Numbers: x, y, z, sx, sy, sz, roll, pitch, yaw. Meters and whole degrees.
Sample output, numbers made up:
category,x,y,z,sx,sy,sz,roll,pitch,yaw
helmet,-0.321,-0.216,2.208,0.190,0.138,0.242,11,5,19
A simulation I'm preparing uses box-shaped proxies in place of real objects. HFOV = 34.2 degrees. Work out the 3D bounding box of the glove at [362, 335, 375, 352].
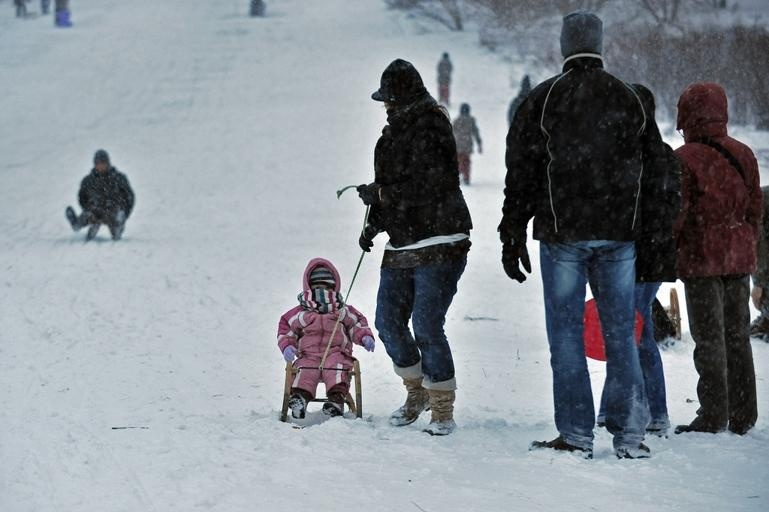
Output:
category,x,y,z,sx,sy,sz,roll,pitch,yaw
glove,-0.269,1.437,20.386,0.188,0.245,0.115,-1,-3,-17

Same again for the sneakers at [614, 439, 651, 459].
category,x,y,z,sx,sy,sz,roll,pitch,yaw
sneakers,3.740,2.922,18.733,0.374,0.200,0.289,-1,-4,17

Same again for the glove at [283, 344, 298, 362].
category,x,y,z,sx,sy,sz,roll,pitch,yaw
glove,-1.514,1.620,20.212,0.224,0.252,0.372,-1,15,-8

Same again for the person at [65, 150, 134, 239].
category,x,y,z,sx,sy,sz,roll,pitch,yaw
person,-6.298,-1.261,27.704,1.396,2.146,1.094,14,19,41

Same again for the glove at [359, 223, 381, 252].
category,x,y,z,sx,sy,sz,roll,pitch,yaw
glove,-0.208,-0.272,19.763,0.175,0.424,0.313,5,26,-29

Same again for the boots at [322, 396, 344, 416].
category,x,y,z,sx,sy,sz,roll,pitch,yaw
boots,-0.802,2.430,19.919,0.337,0.331,0.236,-2,-4,2

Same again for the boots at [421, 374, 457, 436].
category,x,y,z,sx,sy,sz,roll,pitch,yaw
boots,0.870,2.332,19.399,0.520,0.830,0.449,1,15,3

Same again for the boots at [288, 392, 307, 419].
category,x,y,z,sx,sy,sz,roll,pitch,yaw
boots,-1.369,2.399,19.870,0.304,0.372,0.253,1,15,0
